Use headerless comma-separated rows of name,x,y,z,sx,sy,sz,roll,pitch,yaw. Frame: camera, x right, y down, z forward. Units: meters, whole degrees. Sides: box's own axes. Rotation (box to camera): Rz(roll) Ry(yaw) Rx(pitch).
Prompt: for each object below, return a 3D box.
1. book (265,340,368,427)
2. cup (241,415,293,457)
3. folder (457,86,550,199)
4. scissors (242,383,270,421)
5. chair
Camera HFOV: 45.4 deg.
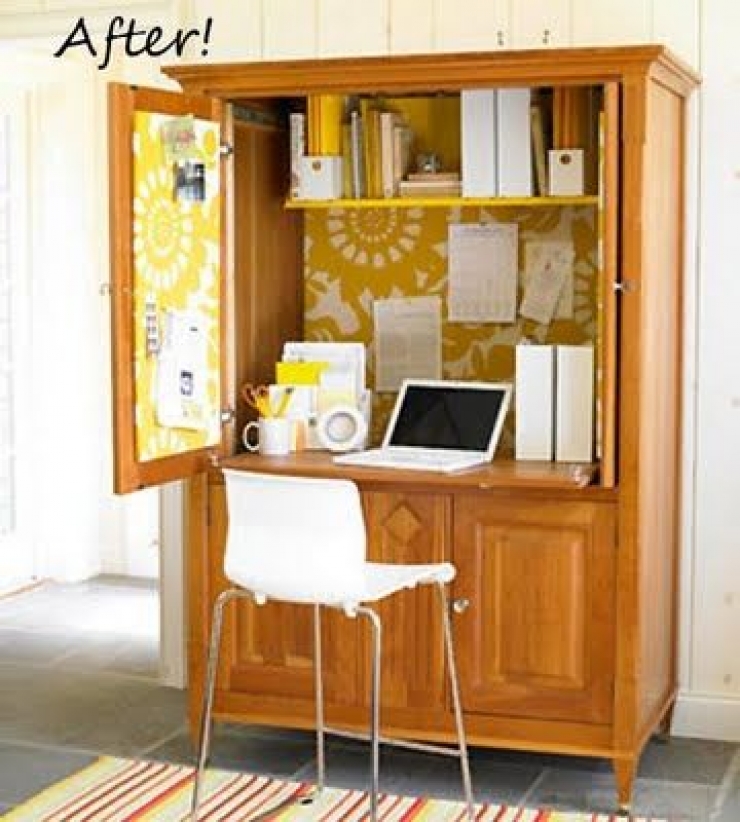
book,-0.164,-0.108,2.825,0.302,0.333,0.235,0,-1,7
cup,-0.317,0.080,2.737,0.150,0.116,0.102,0,3,-5
folder,0.451,-0.788,2.905,0.252,0.548,0.371,1,4,14
scissors,-0.348,-0.035,2.770,0.050,0.109,0.094,-31,-7,30
chair,-0.076,0.572,2.150,0.604,0.917,0.698,2,3,37
